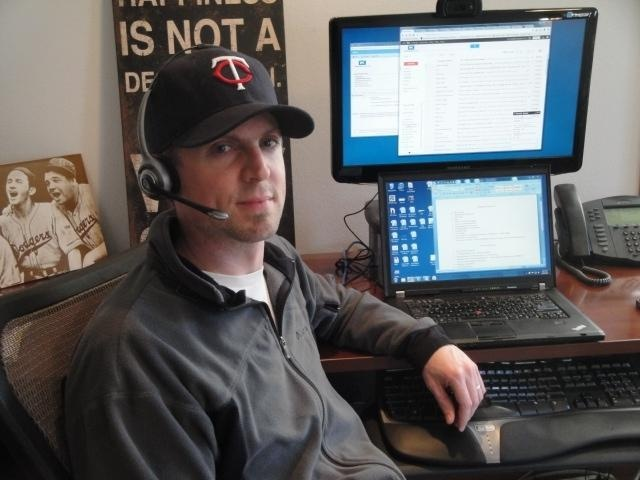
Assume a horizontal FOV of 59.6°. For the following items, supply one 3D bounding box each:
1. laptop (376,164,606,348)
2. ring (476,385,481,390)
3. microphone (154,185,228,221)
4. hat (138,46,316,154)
[{"bbox_3d":[0.480,0.029,1.705,0.553,0.409,0.490,-2,13,-4],"label":"laptop"},{"bbox_3d":[0.406,0.375,1.433,0.011,0.011,0.020,-2,-8,30],"label":"ring"},{"bbox_3d":[-0.297,-0.082,1.304,0.169,0.080,0.070,4,12,20],"label":"microphone"},{"bbox_3d":[-0.223,-0.299,1.334,0.331,0.201,0.260,-3,18,33],"label":"hat"}]
